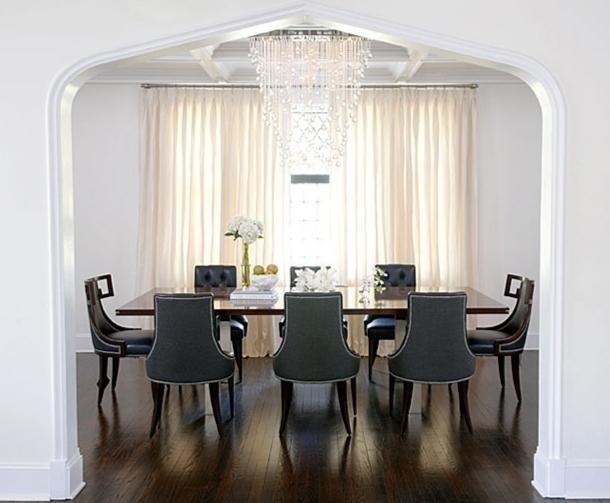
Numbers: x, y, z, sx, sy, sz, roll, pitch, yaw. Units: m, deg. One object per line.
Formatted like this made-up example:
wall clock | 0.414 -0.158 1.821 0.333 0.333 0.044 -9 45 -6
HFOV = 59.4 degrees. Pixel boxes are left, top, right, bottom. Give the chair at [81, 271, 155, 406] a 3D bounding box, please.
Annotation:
chair | -1.529 0.741 4.544 0.531 1.036 0.584 -2 6 -18

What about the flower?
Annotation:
flower | -0.533 0.005 4.629 0.361 0.683 0.352 12 14 26

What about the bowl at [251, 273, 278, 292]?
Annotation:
bowl | -0.327 0.253 4.325 0.136 0.098 0.145 1 -6 0

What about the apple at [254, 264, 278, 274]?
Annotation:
apple | -0.325 0.154 4.385 0.186 0.109 0.096 -4 1 -16
